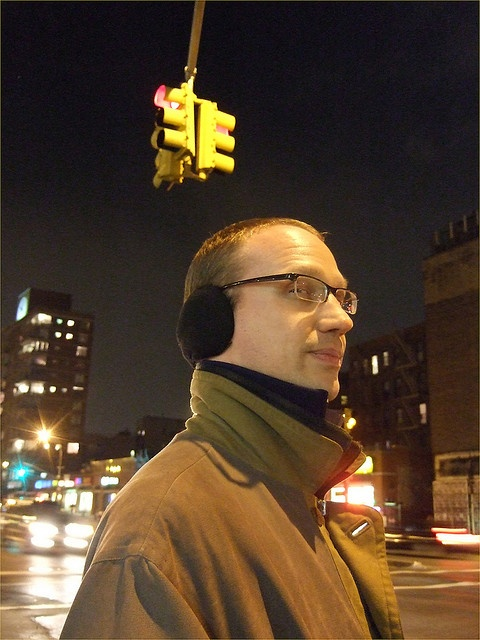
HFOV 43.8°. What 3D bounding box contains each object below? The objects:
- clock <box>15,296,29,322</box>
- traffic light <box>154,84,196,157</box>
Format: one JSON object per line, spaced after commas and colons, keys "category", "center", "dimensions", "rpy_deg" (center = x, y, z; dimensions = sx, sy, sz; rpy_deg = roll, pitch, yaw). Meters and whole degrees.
{"category": "clock", "center": [-12.426, -0.739, 34.133], "dimensions": [0.405, 1.140, 1.771], "rpy_deg": [4, -7, -25]}
{"category": "traffic light", "center": [-0.820, -2.512, 7.429], "dimensions": [0.547, 0.972, 0.405], "rpy_deg": [3, -15, -5]}
